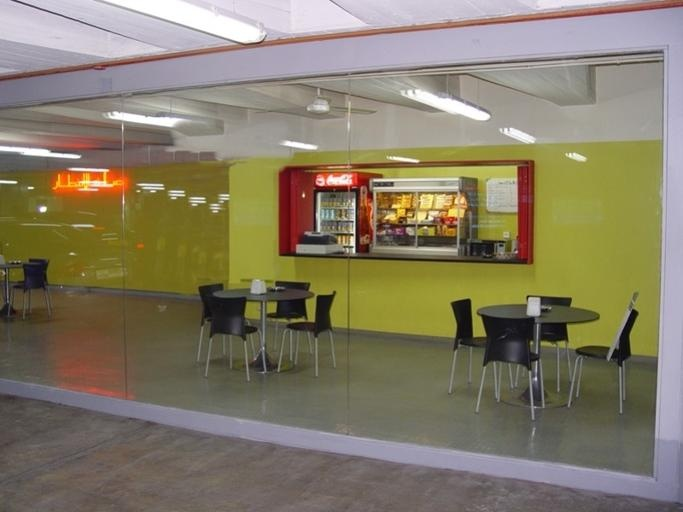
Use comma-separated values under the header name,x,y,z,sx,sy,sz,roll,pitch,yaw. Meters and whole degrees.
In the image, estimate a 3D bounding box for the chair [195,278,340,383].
name,x,y,z,sx,sy,sz,roll,pitch,yaw
chair,-1.026,0.794,6.530,1.160,0.765,1.148,0,-2,-4

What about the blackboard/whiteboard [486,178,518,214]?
name,x,y,z,sx,sy,sz,roll,pitch,yaw
blackboard/whiteboard,2.030,-0.781,7.188,0.457,0.424,0.109,1,7,35

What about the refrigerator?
name,x,y,z,sx,sy,sz,roll,pitch,yaw
refrigerator,0.024,-0.490,6.269,0.593,0.895,0.717,7,15,34
